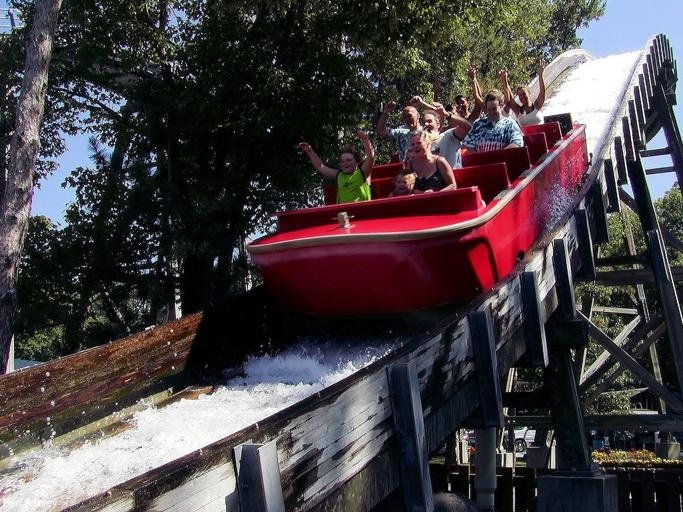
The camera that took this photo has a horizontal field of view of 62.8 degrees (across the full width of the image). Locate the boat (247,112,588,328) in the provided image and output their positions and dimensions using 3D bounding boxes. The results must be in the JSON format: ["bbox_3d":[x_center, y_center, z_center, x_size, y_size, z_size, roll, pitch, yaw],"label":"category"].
[{"bbox_3d":[1.086,-0.731,5.461,1.352,0.833,3.257,-7,14,32],"label":"boat"}]

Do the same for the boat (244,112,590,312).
[{"bbox_3d":[1.047,-0.713,5.558,1.361,0.712,3.277,-7,13,31],"label":"boat"}]
